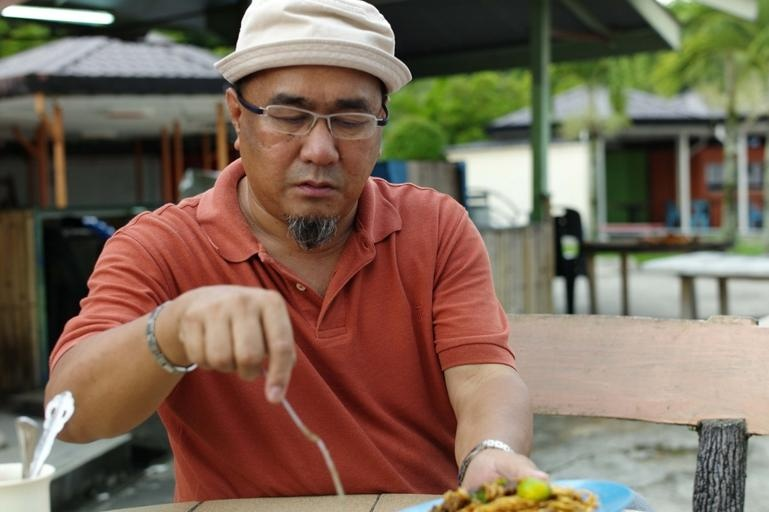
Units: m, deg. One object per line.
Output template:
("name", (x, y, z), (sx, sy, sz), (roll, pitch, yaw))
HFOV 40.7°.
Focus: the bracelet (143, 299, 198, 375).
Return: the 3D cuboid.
("bracelet", (-1.172, 0.463, 5.407), (0.089, 0.345, 0.329), (-25, -4, -29))
